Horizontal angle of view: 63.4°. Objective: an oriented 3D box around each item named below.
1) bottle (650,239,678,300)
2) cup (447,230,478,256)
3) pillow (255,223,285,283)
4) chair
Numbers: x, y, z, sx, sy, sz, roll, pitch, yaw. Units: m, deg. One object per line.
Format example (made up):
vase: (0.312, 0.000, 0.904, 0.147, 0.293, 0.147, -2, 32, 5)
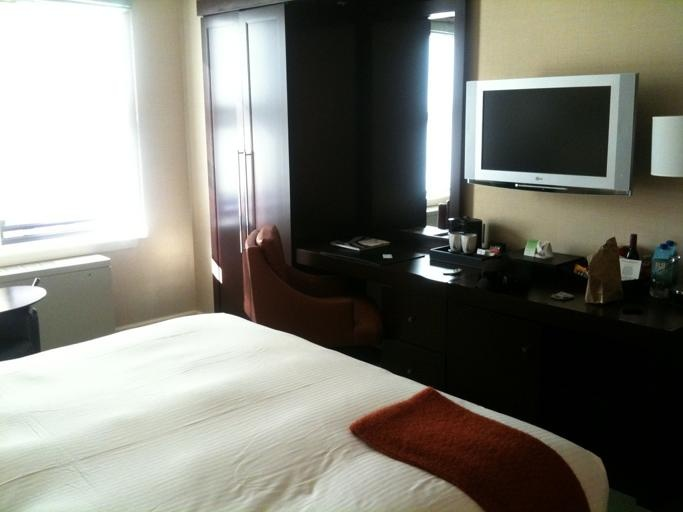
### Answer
bottle: (1.612, 0.071, 2.764, 0.117, 0.270, 0.184, 6, 14, 30)
cup: (0.749, -0.076, 3.437, 0.121, 0.138, 0.208, -3, 6, -24)
pillow: (-0.450, -0.026, 3.635, 0.086, 0.299, 0.288, -15, 32, 7)
chair: (-0.230, 0.192, 3.656, 0.830, 0.756, 0.771, -6, 13, -23)
